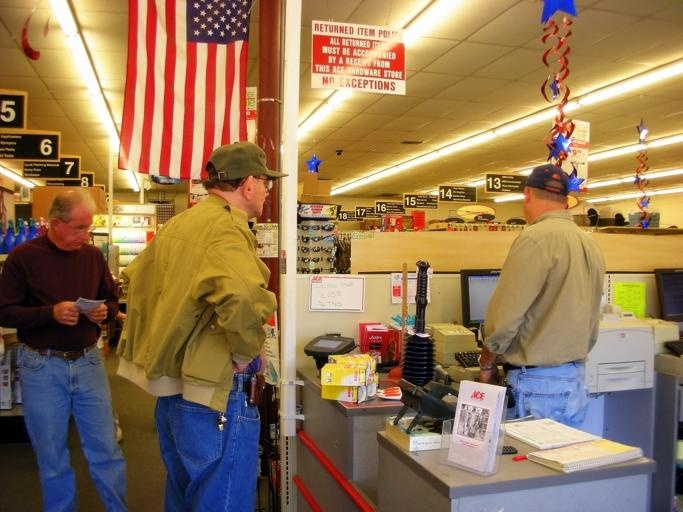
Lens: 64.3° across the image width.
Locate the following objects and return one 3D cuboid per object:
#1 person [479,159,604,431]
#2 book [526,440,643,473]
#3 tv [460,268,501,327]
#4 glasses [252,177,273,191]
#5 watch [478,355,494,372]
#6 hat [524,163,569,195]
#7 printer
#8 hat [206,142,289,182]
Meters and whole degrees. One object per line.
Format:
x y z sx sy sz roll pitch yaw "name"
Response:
1.189 0.219 3.157 0.706 1.526 0.360 3 1 6 "person"
1.057 0.855 2.349 0.498 0.075 0.166 3 2 -15 "book"
1.078 0.300 3.827 0.212 0.406 0.399 1 -4 -32 "tv"
-0.428 -0.387 2.907 0.079 0.025 0.077 9 -2 22 "glasses"
0.846 0.619 3.152 0.070 0.081 0.067 -2 7 15 "watch"
1.250 -0.470 3.319 0.165 0.128 0.244 8 9 -2 "hat"
2.028 0.710 3.822 0.408 0.519 0.552 20 -22 -28 "printer"
-0.517 -0.517 2.976 0.438 0.217 0.285 -9 10 -26 "hat"
